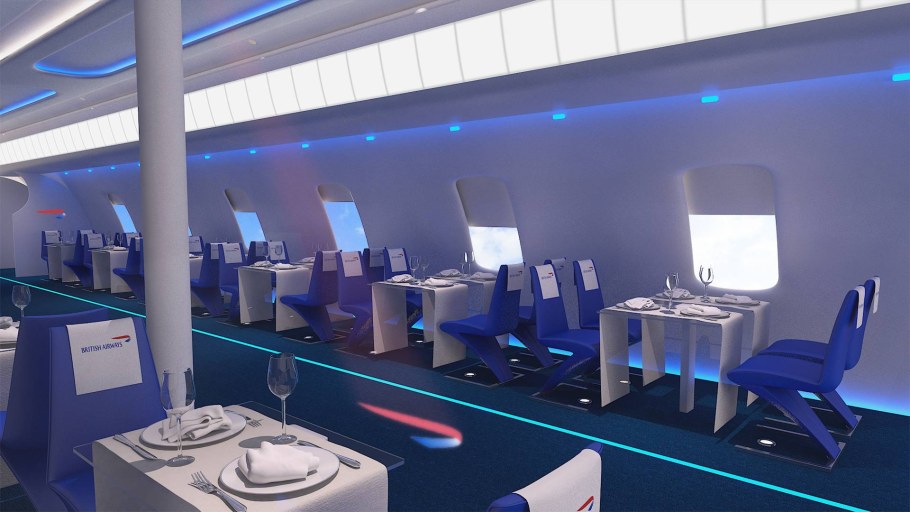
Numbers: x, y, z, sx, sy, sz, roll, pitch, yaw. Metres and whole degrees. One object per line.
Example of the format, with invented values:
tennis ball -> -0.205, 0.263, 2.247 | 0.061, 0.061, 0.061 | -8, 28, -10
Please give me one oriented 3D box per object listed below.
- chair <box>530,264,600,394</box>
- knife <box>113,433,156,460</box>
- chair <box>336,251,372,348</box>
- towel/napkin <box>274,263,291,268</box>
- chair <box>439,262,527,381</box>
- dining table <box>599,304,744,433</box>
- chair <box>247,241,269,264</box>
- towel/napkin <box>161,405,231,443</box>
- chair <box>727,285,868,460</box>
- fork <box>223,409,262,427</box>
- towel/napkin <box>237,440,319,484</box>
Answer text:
chair -> 1.399, 0.866, 6.371 | 0.868, 1.536, 0.598 | -1, 5, 36
knife -> -2.195, 1.296, 3.464 | 0.334, 0.034, 0.038 | 18, 20, 30
chair -> -1.598, 0.635, 8.077 | 0.509, 1.432, 0.712 | -5, 4, -13
towel/napkin -> -3.032, 0.162, 8.960 | 0.185, 0.059, 0.133 | 1, -1, -40
chair -> 0.442, 0.869, 6.828 | 0.938, 1.534, 0.451 | -2, 5, 24
dining table -> 2.651, 1.122, 6.219 | 1.812, 1.356, 1.497 | 7, 12, 40
chair -> -3.963, -0.092, 10.101 | 0.483, 0.413, 0.285 | -6, 5, -39
towel/napkin -> -1.805, 1.117, 3.539 | 0.290, 0.077, 0.288 | 1, 2, 37
chair -> 3.768, 1.112, 6.243 | 1.871, 2.149, 1.726 | 5, 6, 34
fork -> -1.560, 1.173, 3.696 | 0.356, 0.038, 0.037 | 10, -26, 28
towel/napkin -> -1.136, 1.329, 3.285 | 0.358, 0.100, 0.291 | -2, 10, -18
